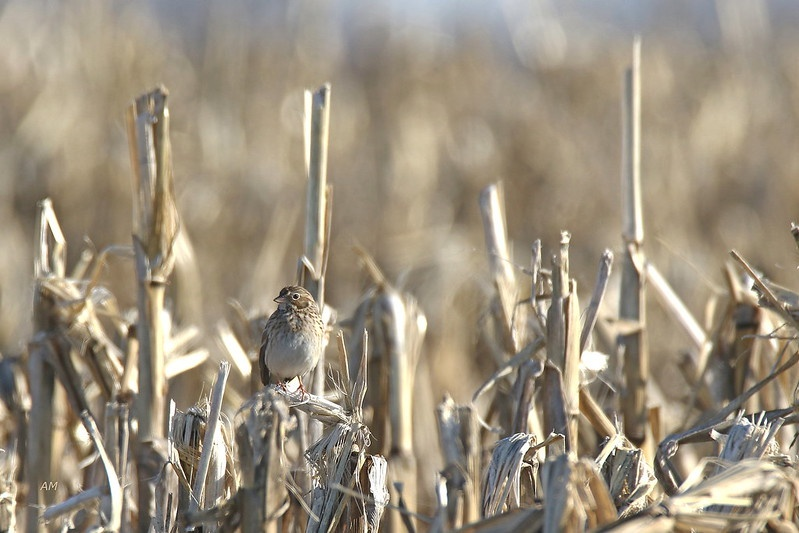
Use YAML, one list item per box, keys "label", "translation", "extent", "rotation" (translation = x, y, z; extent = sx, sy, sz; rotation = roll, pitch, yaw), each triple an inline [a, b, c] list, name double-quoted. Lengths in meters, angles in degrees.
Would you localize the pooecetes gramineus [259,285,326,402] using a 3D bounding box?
- label: "pooecetes gramineus"
  translation: [-0.582, 0.346, 8.158]
  extent: [0.270, 0.624, 0.572]
  rotation: [1, 6, -8]
